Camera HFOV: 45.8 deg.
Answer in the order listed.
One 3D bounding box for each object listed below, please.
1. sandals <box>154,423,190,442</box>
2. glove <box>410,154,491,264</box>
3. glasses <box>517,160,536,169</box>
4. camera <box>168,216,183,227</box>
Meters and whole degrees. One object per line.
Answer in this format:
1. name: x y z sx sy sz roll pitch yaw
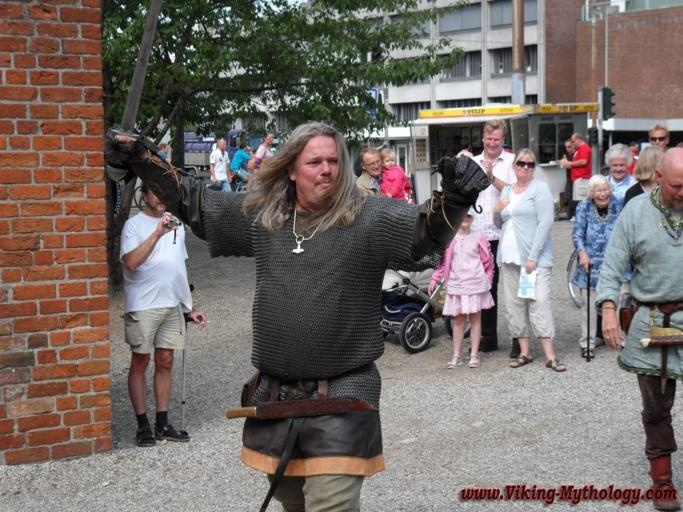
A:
1. sandals: -1.498 1.542 7.162 0.276 0.118 0.144 0 0 6
2. glove: 0.548 -0.230 4.111 0.145 0.543 0.398 -10 12 -41
3. glasses: 2.009 -0.976 8.729 0.225 0.101 0.119 -3 9 -7
4. camera: -1.234 -0.251 6.013 0.056 0.072 0.176 -30 27 -25
